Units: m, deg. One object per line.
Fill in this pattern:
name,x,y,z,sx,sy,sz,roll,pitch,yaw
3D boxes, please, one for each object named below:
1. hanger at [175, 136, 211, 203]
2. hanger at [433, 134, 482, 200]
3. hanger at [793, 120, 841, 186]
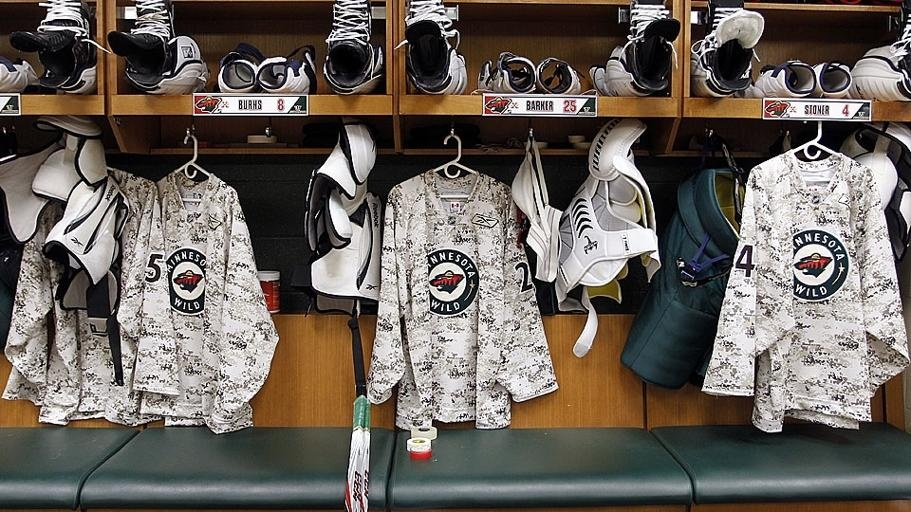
hanger,-1.348,-0.446,3.984,0.181,0.378,0.326,-3,9,-18
hanger,0.006,-0.456,3.974,0.362,0.348,0.012,-1,1,-2
hanger,1.833,-0.513,3.904,0.361,0.386,0.010,1,9,14
